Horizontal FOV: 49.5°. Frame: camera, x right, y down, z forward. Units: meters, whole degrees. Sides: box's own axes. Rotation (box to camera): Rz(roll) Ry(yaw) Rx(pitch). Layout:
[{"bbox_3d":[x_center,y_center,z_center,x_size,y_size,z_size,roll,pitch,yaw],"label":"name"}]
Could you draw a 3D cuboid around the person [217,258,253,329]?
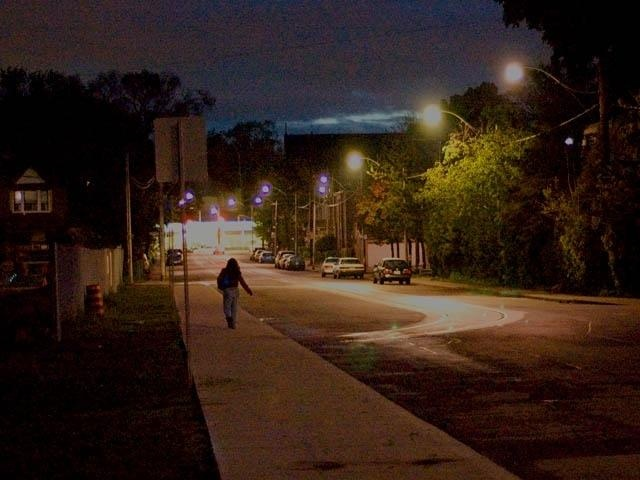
[{"bbox_3d":[-2.615,1.471,20.469,0.876,2.654,0.829,0,3,-30],"label":"person"}]
